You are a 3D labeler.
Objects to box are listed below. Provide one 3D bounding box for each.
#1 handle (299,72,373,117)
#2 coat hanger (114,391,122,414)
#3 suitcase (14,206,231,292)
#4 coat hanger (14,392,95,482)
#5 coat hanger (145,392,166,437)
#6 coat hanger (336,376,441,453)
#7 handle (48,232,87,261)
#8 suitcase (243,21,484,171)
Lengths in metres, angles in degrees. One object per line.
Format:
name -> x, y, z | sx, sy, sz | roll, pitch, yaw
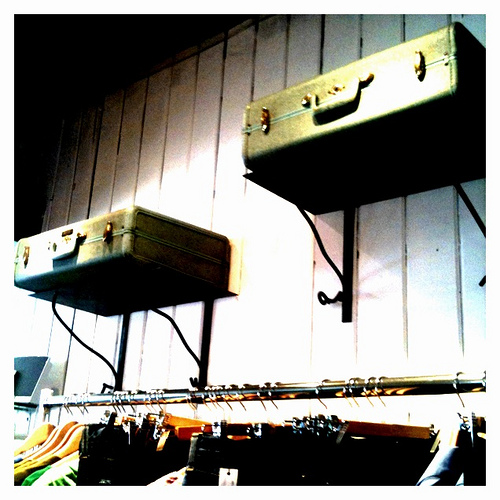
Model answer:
handle -> 0.185, -0.326, 1.103 | 0.090, 0.075, 0.132 | -4, 3, -34
coat hanger -> -0.454, 0.520, 1.737 | 0.019, 0.075, 0.348 | 0, -13, -15
suitcase -> -0.492, 0.052, 1.887 | 0.721, 0.183, 0.550 | -8, -18, 32
coat hanger -> -0.582, 0.601, 1.503 | 0.075, 0.121, 0.221 | -11, -14, 35
coat hanger -> -0.231, 0.433, 1.268 | 0.052, 0.125, 0.031 | -5, -24, 17
coat hanger -> 0.244, 0.267, 0.881 | 0.118, 0.104, 0.045 | -2, -6, 36
handle -> -0.609, -0.004, 1.697 | 0.106, 0.120, 0.026 | -9, -23, 35
suitcase -> 0.302, -0.283, 1.255 | 0.579, 0.165, 0.426 | -6, -16, 38
